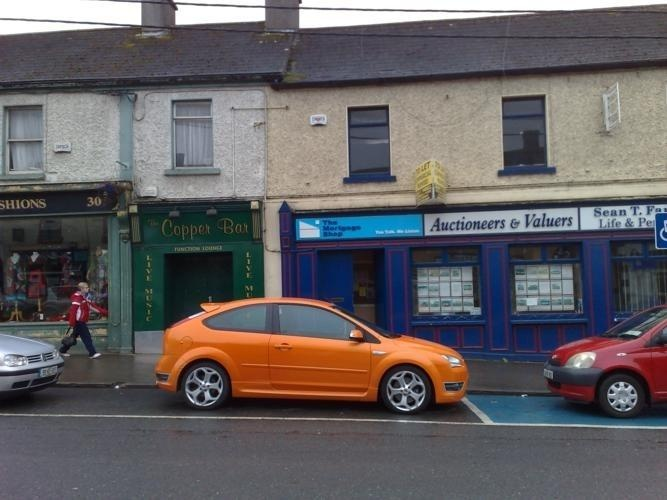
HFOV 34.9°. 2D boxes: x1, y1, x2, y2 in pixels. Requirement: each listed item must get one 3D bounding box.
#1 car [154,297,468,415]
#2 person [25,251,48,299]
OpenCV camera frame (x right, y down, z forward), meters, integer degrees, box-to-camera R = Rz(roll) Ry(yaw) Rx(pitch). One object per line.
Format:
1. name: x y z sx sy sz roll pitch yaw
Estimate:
1. car: -0.441 2.179 21.868 5.563 1.891 2.572 -1 -6 2
2. person: -7.638 0.642 27.275 0.473 1.208 0.344 1 3 -5
